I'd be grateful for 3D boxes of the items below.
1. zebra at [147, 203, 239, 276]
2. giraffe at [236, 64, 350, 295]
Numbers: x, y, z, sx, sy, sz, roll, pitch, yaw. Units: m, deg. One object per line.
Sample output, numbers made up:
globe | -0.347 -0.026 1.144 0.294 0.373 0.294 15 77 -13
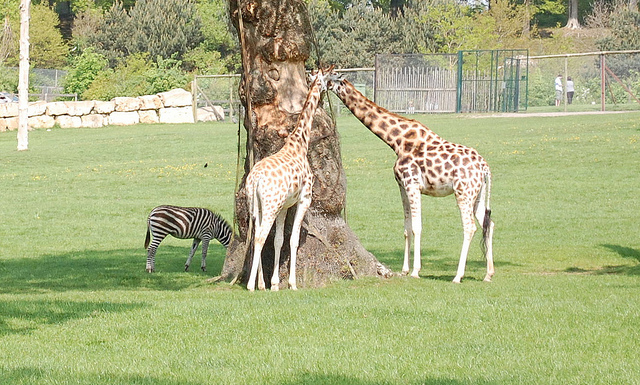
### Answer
zebra | -5.909 2.119 56.123 5.075 2.992 1.481 2 1 -29
giraffe | -1.612 -0.679 52.620 3.860 9.682 2.203 -2 4 -9
